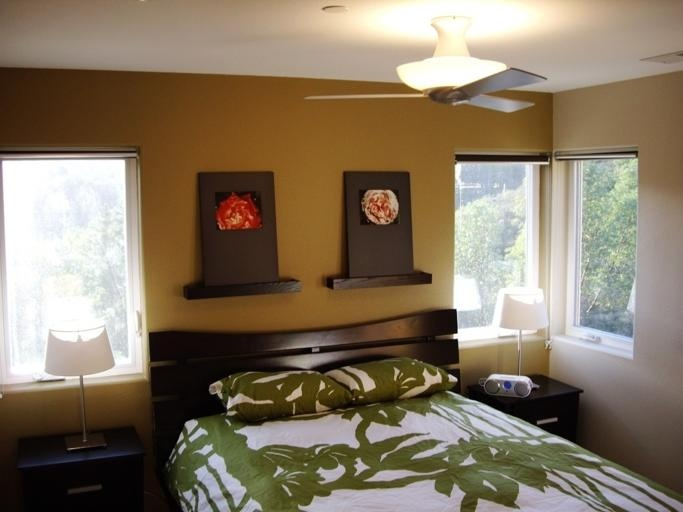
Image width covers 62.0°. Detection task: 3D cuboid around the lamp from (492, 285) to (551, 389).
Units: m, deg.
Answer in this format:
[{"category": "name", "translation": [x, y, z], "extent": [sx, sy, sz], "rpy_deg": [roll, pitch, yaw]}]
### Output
[{"category": "lamp", "translation": [1.451, 0.708, 4.594], "extent": [0.342, 0.806, 0.293], "rpy_deg": [-1, 14, 7]}]

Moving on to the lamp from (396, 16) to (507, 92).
[{"category": "lamp", "translation": [0.556, -1.042, 2.929], "extent": [0.576, 0.356, 0.606], "rpy_deg": [2, 10, 4]}]

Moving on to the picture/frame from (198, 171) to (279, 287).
[{"category": "picture/frame", "translation": [-0.719, -0.204, 3.990], "extent": [0.512, 0.772, 0.265], "rpy_deg": [-4, 15, -9]}]

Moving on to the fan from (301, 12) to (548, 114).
[{"category": "fan", "translation": [0.530, -0.879, 2.766], "extent": [0.701, 0.237, 0.695], "rpy_deg": [4, 7, 20]}]

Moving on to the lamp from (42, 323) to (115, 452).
[{"category": "lamp", "translation": [-1.680, 0.852, 3.686], "extent": [0.418, 0.761, 0.361], "rpy_deg": [-3, 4, -20]}]

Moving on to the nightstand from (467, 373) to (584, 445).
[{"category": "nightstand", "translation": [1.462, 1.374, 4.529], "extent": [0.727, 0.714, 0.542], "rpy_deg": [-7, 12, -30]}]
